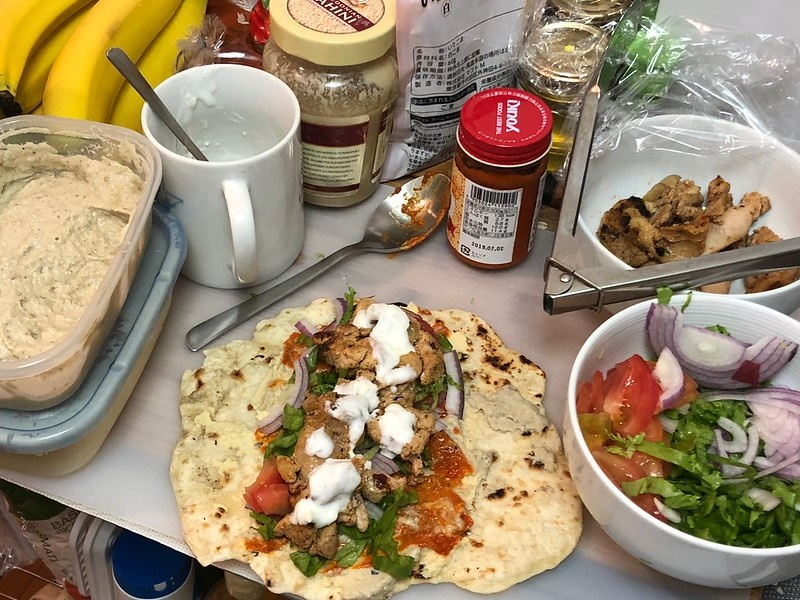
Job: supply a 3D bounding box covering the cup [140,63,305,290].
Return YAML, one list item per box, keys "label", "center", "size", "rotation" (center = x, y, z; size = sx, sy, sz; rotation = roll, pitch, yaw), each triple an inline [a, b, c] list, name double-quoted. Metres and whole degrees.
- label: "cup"
  center: [-0.278, -0.235, 1.178]
  size: [0.234, 0.275, 0.390]
  rotation: [-6, 52, -10]

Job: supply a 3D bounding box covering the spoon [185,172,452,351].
- label: "spoon"
  center: [-0.145, -0.055, 1.141]
  size: [0.426, 0.063, 0.097]
  rotation: [-36, 80, -6]

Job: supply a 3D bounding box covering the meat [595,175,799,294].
- label: "meat"
  center: [0.483, -0.092, 1.172]
  size: [0.229, 0.081, 0.209]
  rotation: [-8, 53, 4]
